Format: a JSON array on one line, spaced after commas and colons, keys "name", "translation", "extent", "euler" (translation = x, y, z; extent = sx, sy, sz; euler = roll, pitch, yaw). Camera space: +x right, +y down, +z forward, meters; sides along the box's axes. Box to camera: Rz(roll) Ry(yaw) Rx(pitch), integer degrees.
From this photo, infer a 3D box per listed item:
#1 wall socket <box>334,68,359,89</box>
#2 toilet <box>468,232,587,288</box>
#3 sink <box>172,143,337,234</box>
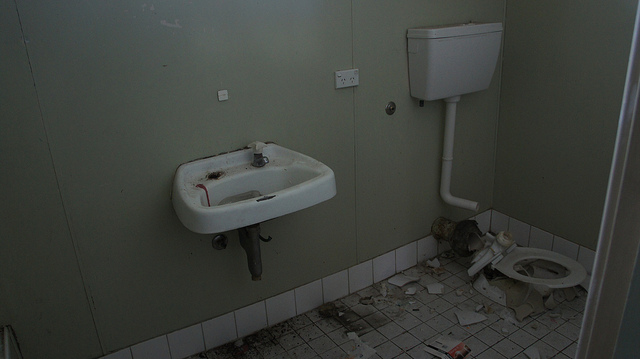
[{"name": "wall socket", "translation": [0.160, -0.645, 3.128], "extent": [0.126, 0.082, 0.024], "euler": [-12, 20, -23]}, {"name": "toilet", "translation": [1.425, 0.559, 3.373], "extent": [0.554, 0.248, 0.434], "euler": [16, 27, 40]}, {"name": "sink", "translation": [-0.384, 0.037, 2.770], "extent": [0.852, 0.219, 0.552], "euler": [-14, 32, -17]}]
